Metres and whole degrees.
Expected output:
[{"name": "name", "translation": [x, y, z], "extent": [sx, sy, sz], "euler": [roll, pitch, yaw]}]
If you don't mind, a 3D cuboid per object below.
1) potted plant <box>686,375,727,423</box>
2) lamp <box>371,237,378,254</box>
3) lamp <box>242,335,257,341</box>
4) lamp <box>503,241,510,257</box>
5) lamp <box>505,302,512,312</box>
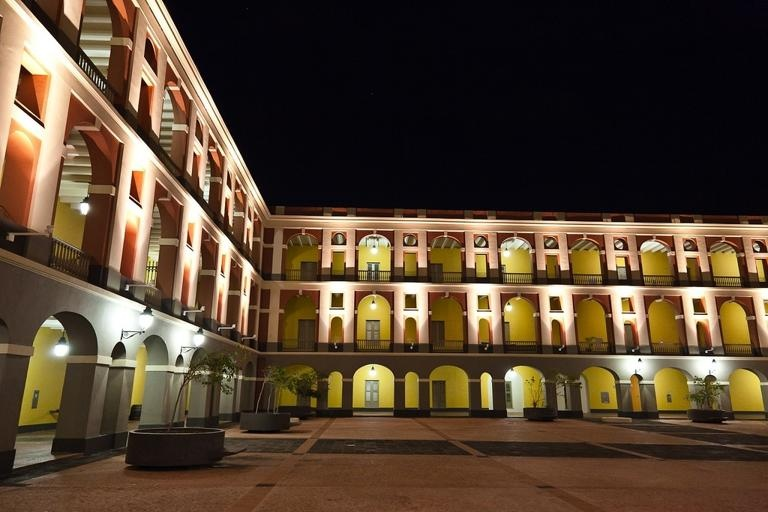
[{"name": "potted plant", "translation": [21.690, 9.463, 34.520], "extent": [2.694, 2.867, 2.572], "euler": [13, -18, -41]}, {"name": "lamp", "translation": [-0.801, -0.797, 40.503], "extent": [0.559, 0.992, 1.286], "euler": [2, -12, -2]}, {"name": "lamp", "translation": [-8.816, 5.280, 33.512], "extent": [0.839, 0.363, 0.822], "euler": [0, -4, -4]}, {"name": "lamp", "translation": [9.769, -0.492, 41.039], "extent": [0.589, 0.885, 1.065], "euler": [-2, -12, 14]}, {"name": "lamp", "translation": [9.761, 3.968, 40.438], "extent": [0.479, 0.770, 0.281], "euler": [-1, -12, 11]}]
